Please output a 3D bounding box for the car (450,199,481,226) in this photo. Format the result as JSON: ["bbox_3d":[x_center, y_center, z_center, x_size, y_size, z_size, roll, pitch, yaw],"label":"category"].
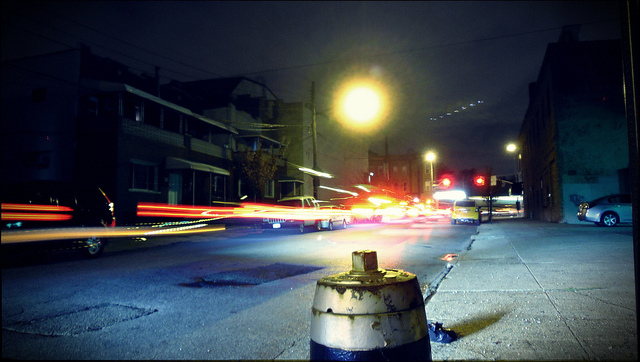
[{"bbox_3d":[11.057,2.405,33.991,2.043,1.940,1.428,-4,-3,17],"label":"car"}]

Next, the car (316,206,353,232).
[{"bbox_3d":[0.955,2.586,31.075,1.030,1.637,6.122,-3,-4,14],"label":"car"}]

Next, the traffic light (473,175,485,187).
[{"bbox_3d":[10.084,-0.032,28.162,0.602,0.225,0.558,-7,-15,-26],"label":"traffic light"}]

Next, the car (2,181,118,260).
[{"bbox_3d":[-10.667,1.721,18.634,2.693,2.491,5.078,-9,-13,34],"label":"car"}]

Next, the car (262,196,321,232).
[{"bbox_3d":[-1.697,2.087,27.366,1.450,2.234,3.789,-5,-4,38],"label":"car"}]

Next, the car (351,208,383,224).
[{"bbox_3d":[3.902,3.017,38.740,1.489,1.303,5.638,-4,-4,21],"label":"car"}]
